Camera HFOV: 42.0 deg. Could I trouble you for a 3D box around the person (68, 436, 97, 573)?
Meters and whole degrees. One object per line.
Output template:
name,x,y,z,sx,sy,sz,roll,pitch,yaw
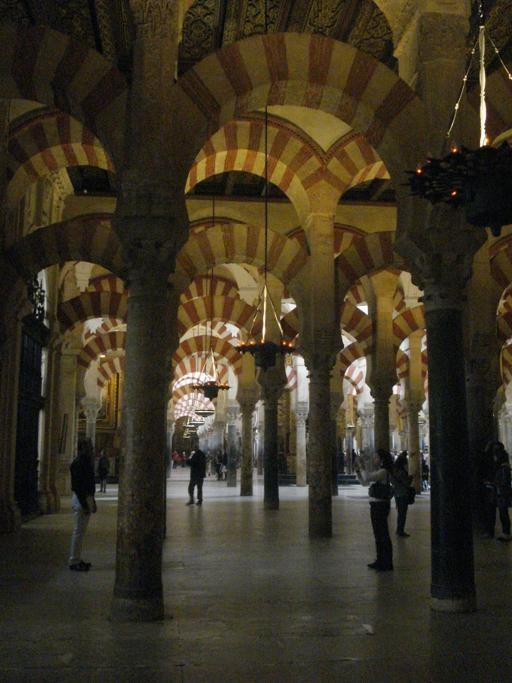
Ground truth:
person,-1.439,1.346,5.549,0.206,1.048,0.416,2,-12,-14

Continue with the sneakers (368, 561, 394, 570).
sneakers,0.989,1.828,5.393,0.208,0.070,0.225,-6,-12,21

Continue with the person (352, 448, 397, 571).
person,1.076,1.463,5.962,0.302,1.004,1.262,-3,-11,10

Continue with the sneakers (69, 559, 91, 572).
sneakers,-1.408,1.795,5.342,0.176,0.083,0.065,1,-3,-19

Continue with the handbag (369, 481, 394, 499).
handbag,1.033,1.235,5.603,0.142,0.193,0.190,3,7,-14
